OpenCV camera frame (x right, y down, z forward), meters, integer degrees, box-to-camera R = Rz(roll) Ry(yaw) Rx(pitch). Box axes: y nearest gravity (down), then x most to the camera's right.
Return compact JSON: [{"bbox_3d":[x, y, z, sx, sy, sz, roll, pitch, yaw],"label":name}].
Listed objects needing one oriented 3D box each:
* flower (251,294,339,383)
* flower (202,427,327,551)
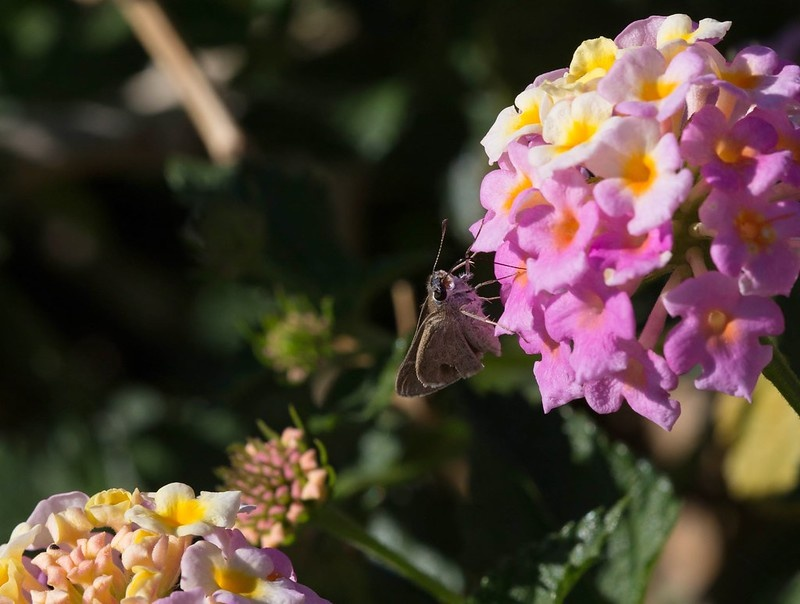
[{"bbox_3d":[-0.201,0.060,1.800,0.136,0.167,0.058,14,2,-6],"label":"flower"},{"bbox_3d":[-0.220,0.314,1.657,0.098,0.199,0.205,7,-67,-40],"label":"flower"}]
